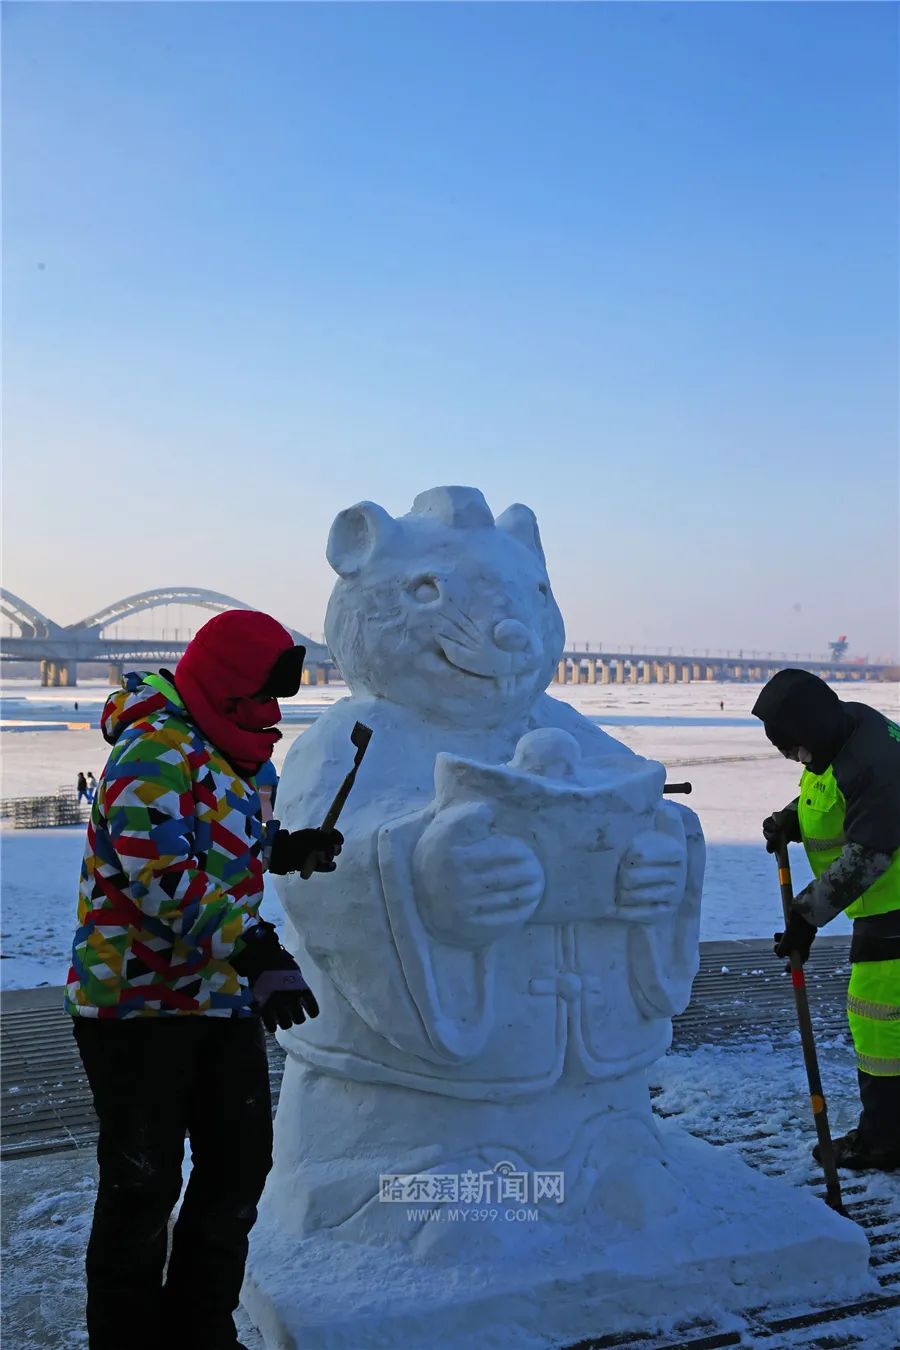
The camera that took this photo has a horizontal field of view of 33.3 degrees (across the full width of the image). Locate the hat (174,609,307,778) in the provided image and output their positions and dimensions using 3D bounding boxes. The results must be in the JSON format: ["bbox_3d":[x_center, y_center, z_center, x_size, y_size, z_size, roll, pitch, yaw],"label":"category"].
[{"bbox_3d":[-0.457,0.035,2.956,0.263,0.332,0.281,7,1,32],"label":"hat"}]

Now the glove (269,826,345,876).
[{"bbox_3d":[-0.300,0.377,3.106,0.115,0.050,0.117,-11,-20,37],"label":"glove"}]

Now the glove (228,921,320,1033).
[{"bbox_3d":[-0.340,0.566,2.860,0.143,0.224,0.075,-38,-9,10],"label":"glove"}]

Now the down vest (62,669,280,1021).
[{"bbox_3d":[-0.478,0.319,3.101,0.595,0.790,0.655,0,-2,-8],"label":"down vest"}]
